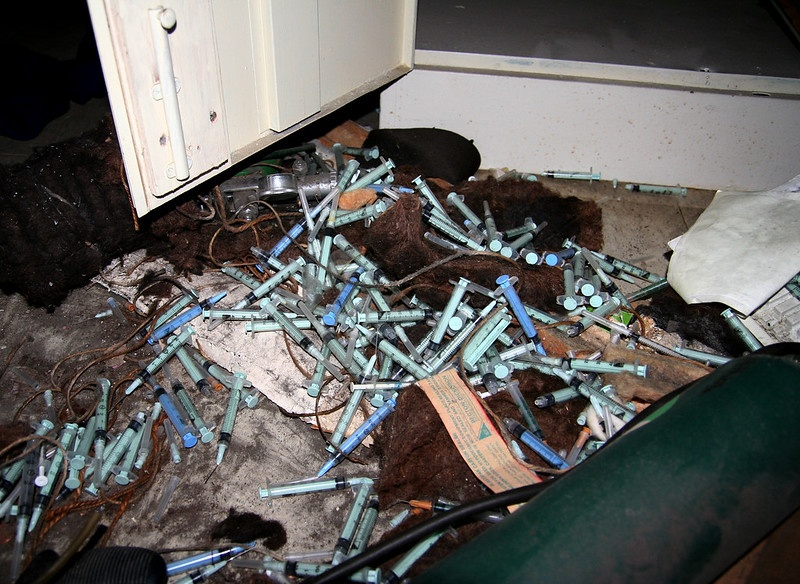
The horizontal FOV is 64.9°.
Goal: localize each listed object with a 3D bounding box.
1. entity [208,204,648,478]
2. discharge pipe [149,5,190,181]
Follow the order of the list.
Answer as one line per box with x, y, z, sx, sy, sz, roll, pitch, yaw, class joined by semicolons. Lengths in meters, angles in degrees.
0.118;0.043;4.152;1.948;0.789;1.156;2;48;-11;entity
-1.213;-1.030;3.363;0.130;0.843;0.372;-7;50;-17;discharge pipe
